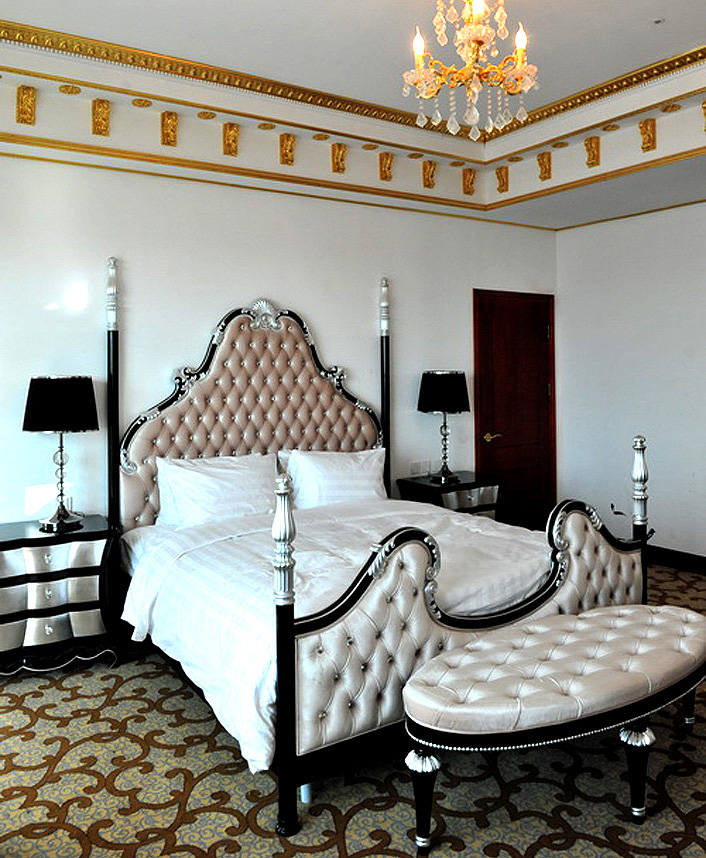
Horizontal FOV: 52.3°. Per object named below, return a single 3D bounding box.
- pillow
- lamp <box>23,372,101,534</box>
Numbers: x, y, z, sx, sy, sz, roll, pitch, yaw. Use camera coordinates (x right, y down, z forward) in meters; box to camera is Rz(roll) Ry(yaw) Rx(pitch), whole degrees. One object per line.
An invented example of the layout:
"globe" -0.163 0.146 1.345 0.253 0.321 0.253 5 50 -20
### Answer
"pillow" -0.412 0.316 4.090 1.327 0.359 0.469 -3 3 -34
"lamp" -1.441 0.110 3.537 0.326 0.746 0.366 0 3 23
